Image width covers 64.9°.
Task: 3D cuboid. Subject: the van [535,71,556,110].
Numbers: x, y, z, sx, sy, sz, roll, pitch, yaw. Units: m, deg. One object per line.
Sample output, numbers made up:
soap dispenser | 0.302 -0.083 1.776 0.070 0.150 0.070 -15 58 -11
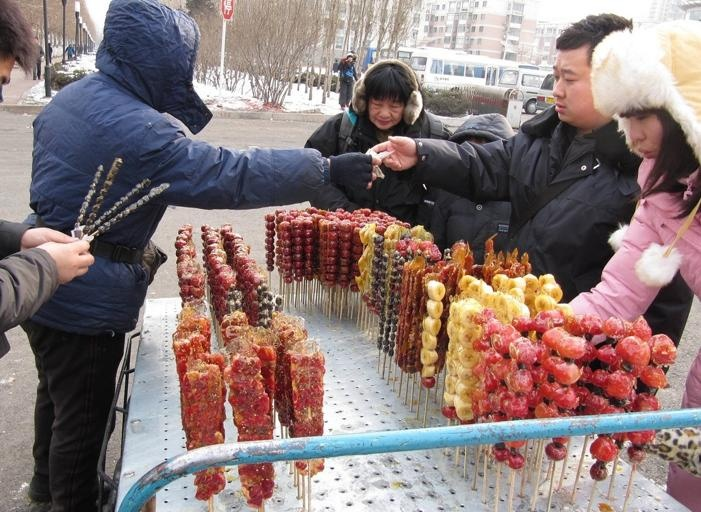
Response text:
van | 7.294 -6.035 19.947 0.990 0.990 1.948 7 26 18
